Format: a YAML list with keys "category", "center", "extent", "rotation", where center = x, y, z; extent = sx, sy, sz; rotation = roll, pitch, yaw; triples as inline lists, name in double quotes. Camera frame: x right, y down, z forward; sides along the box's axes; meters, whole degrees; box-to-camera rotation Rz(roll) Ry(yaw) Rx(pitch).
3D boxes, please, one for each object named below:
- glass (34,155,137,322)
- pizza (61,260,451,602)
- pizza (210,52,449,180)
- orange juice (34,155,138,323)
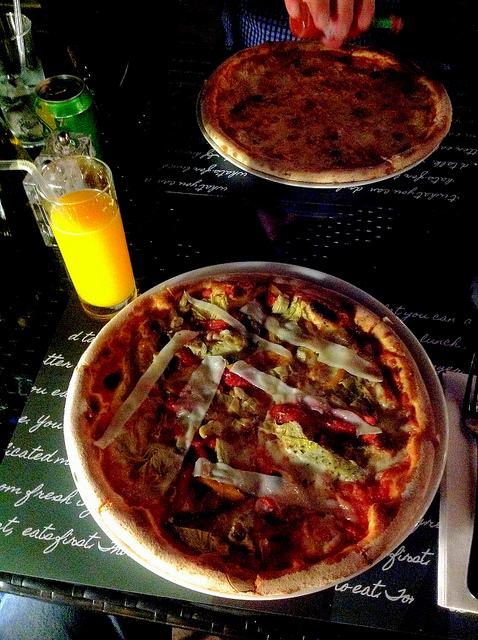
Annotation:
- category: "glass"
  center: [-0.381, -0.224, 1.534]
  extent: [0.176, 0.370, 0.316]
  rotation: [-16, 52, -8]
- category: "pizza"
  center: [0.051, 0.179, 1.298]
  extent: [0.786, 0.161, 0.803]
  rotation: [22, 54, 21]
- category: "pizza"
  center: [0.292, -0.744, 2.069]
  extent: [0.711, 0.085, 0.592]
  rotation: [-4, 40, -9]
- category: "orange juice"
  center: [-0.402, -0.189, 1.511]
  extent: [0.257, 0.386, 0.403]
  rotation: [-10, 39, -18]
